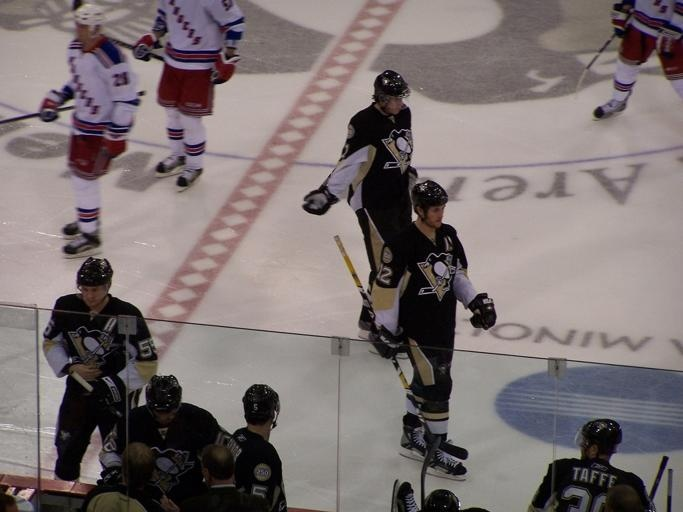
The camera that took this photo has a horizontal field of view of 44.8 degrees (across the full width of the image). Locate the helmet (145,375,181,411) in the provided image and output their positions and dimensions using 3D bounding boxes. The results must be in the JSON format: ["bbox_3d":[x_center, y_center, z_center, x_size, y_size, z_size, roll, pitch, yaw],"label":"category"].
[{"bbox_3d":[-0.934,0.727,4.404,0.168,0.189,0.176,-1,-42,-3],"label":"helmet"}]

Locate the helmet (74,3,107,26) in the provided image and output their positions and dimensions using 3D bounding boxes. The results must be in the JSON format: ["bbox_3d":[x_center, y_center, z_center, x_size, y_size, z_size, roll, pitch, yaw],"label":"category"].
[{"bbox_3d":[-1.795,-1.744,5.952,0.220,0.164,0.199,0,8,-33],"label":"helmet"}]

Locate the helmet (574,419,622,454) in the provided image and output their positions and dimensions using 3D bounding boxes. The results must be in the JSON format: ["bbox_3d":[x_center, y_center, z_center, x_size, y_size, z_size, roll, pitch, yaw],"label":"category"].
[{"bbox_3d":[1.341,0.897,4.311,0.206,0.161,0.158,18,13,23],"label":"helmet"}]

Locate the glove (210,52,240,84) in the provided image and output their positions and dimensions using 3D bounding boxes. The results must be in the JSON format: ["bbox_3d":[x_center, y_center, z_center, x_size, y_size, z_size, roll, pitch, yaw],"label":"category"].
[{"bbox_3d":[-0.934,-1.471,6.546,0.171,0.247,0.102,18,5,-10],"label":"glove"}]

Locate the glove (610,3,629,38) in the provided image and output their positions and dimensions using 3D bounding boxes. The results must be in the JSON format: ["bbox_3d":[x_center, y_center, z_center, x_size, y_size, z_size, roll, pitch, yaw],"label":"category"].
[{"bbox_3d":[2.415,-2.034,7.133,0.160,0.271,0.188,8,-5,15],"label":"glove"}]

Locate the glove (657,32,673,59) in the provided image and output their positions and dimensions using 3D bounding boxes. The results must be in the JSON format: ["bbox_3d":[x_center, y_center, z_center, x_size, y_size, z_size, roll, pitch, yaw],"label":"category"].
[{"bbox_3d":[2.781,-1.811,7.068,0.132,0.129,0.125,7,-5,17],"label":"glove"}]

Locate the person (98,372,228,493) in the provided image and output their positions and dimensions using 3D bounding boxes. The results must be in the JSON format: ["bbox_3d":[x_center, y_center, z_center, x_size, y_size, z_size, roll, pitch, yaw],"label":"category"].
[{"bbox_3d":[-0.917,0.938,4.372,0.628,0.793,0.356,-2,5,1],"label":"person"}]

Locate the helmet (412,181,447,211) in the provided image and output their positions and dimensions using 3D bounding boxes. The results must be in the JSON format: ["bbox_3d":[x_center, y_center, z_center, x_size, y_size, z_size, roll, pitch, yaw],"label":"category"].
[{"bbox_3d":[0.545,-0.366,5.050,0.161,0.172,0.197,-9,18,-30],"label":"helmet"}]

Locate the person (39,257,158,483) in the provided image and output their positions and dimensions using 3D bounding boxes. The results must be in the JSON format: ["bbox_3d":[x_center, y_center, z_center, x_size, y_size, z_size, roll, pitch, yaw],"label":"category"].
[{"bbox_3d":[-1.380,0.742,4.600,0.669,1.353,0.404,9,16,10],"label":"person"}]

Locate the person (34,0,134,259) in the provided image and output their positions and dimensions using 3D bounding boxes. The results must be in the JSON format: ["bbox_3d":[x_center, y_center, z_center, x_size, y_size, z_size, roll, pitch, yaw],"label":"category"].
[{"bbox_3d":[-1.920,-0.912,6.175,0.632,1.612,0.741,11,-5,-21],"label":"person"}]

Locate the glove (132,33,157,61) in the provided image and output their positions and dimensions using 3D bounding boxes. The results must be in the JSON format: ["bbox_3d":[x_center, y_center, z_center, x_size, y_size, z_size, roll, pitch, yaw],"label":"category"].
[{"bbox_3d":[-1.625,-1.700,6.802,0.154,0.244,0.112,29,4,-19],"label":"glove"}]

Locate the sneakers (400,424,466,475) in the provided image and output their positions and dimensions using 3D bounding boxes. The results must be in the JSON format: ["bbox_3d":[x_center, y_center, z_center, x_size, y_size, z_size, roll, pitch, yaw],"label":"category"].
[{"bbox_3d":[0.492,1.041,4.415,0.350,0.204,0.116,16,35,16],"label":"sneakers"}]

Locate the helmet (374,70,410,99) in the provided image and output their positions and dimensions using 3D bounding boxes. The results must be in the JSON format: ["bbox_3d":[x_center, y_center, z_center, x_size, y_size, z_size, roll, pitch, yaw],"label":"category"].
[{"bbox_3d":[0.356,-1.143,5.537,0.235,0.137,0.161,-6,15,-28],"label":"helmet"}]

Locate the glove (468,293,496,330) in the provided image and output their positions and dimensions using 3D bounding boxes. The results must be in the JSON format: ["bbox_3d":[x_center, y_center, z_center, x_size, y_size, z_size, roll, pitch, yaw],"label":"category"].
[{"bbox_3d":[0.867,0.340,5.068,0.168,0.222,0.101,7,18,10],"label":"glove"}]

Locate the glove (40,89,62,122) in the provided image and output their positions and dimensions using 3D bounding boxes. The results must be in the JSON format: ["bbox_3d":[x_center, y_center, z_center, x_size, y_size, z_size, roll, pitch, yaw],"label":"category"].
[{"bbox_3d":[-2.210,-1.128,6.314,0.141,0.250,0.109,21,4,-20],"label":"glove"}]

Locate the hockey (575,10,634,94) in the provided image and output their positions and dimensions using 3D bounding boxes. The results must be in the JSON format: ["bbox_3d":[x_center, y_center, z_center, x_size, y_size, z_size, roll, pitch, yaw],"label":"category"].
[{"bbox_3d":[2.453,-1.852,7.669,0.188,1.311,0.144,34,-23,31],"label":"hockey"}]

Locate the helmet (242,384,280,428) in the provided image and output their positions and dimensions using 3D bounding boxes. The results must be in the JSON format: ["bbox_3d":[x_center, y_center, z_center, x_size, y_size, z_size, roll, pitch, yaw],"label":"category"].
[{"bbox_3d":[-0.398,0.788,4.440,0.175,0.203,0.210,3,-34,4],"label":"helmet"}]
